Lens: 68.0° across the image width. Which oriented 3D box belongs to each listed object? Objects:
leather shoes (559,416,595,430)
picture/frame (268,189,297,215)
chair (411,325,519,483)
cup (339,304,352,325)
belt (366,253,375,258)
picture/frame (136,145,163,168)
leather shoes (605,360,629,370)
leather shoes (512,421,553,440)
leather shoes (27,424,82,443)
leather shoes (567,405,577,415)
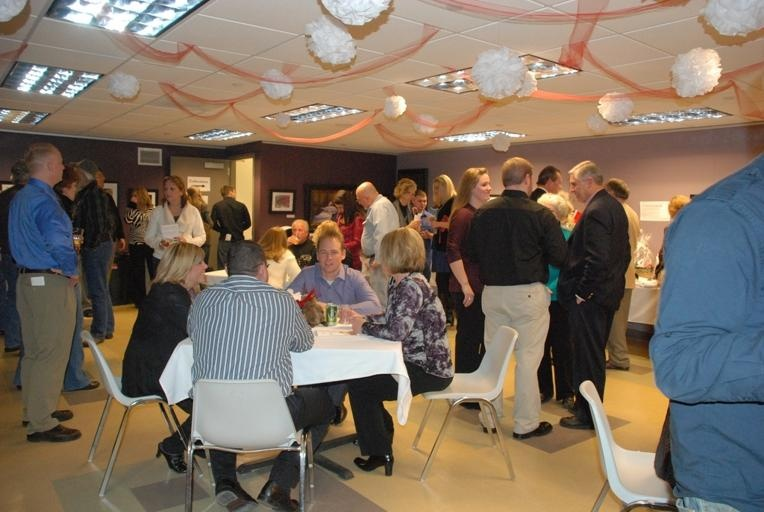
[{"bbox_3d":[1.626,1.408,4.760,0.249,0.096,0.114,4,-2,8],"label":"leather shoes"},{"bbox_3d":[-2.044,-1.114,11.586,0.569,0.468,0.046,1,1,-44],"label":"picture/frame"},{"bbox_3d":[0.600,1.043,4.037,0.594,0.924,0.495,2,1,-35],"label":"chair"},{"bbox_3d":[-0.270,0.443,4.265,0.086,0.114,0.042,0,-2,14],"label":"cup"},{"bbox_3d":[-0.124,-0.001,6.792,0.049,0.048,0.047,-5,-15,16],"label":"belt"},{"bbox_3d":[-4.587,-1.972,11.205,0.464,0.353,0.050,-8,12,-38],"label":"picture/frame"},{"bbox_3d":[2.574,1.213,6.241,0.237,0.092,0.086,11,7,24],"label":"leather shoes"},{"bbox_3d":[1.220,1.401,4.648,0.343,0.142,0.118,-6,7,-27],"label":"leather shoes"},{"bbox_3d":[-2.591,1.390,4.529,0.350,0.140,0.157,-2,-1,-8],"label":"leather shoes"},{"bbox_3d":[1.656,1.352,4.961,0.046,0.054,0.137,-3,-8,14],"label":"leather shoes"}]
